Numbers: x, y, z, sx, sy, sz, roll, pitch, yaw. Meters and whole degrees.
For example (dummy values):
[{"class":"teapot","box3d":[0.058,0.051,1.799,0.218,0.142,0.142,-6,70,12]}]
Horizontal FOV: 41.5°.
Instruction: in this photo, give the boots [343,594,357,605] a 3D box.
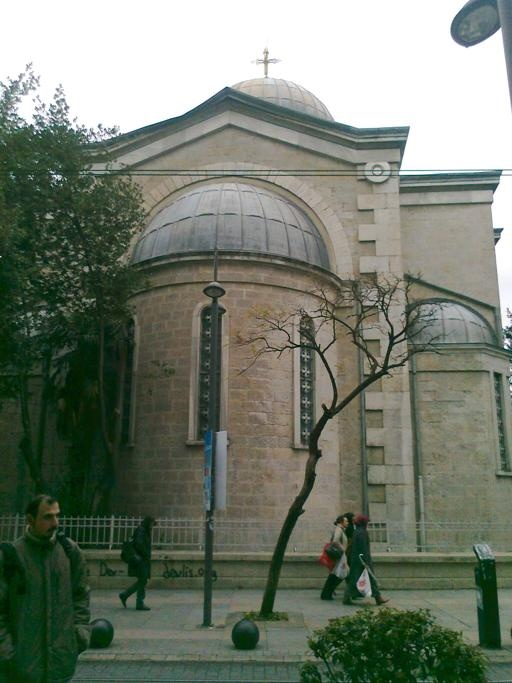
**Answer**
[{"class":"boots","box3d":[1.702,4.665,12.271,0.180,0.153,0.398,-9,-17,29]}]

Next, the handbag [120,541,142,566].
[{"class":"handbag","box3d":[-2.161,3.633,11.650,0.441,0.454,0.224,-10,-18,30]}]

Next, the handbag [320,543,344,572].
[{"class":"handbag","box3d":[1.410,4.087,12.855,0.272,0.486,0.484,8,-17,-27]}]

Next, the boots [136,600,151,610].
[{"class":"boots","box3d":[-1.937,4.540,11.663,0.248,0.147,0.319,6,-16,-23]}]

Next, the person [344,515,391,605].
[{"class":"person","box3d":[1.887,3.957,12.312,0.620,1.535,0.895,3,-16,-12]}]
